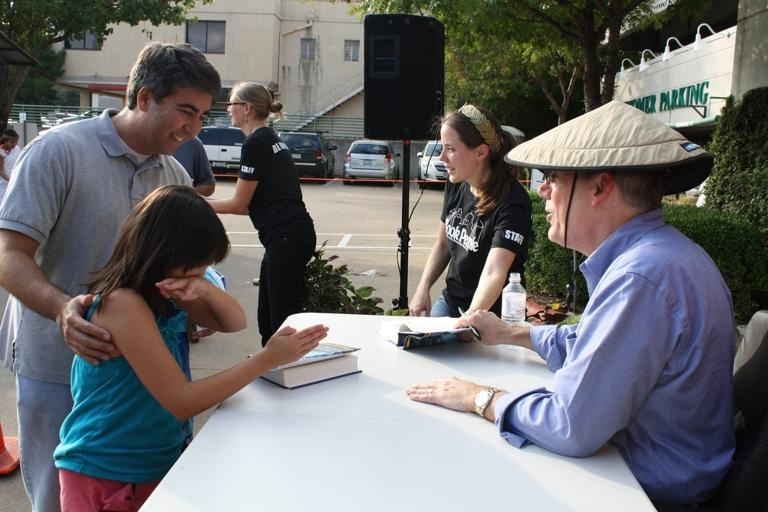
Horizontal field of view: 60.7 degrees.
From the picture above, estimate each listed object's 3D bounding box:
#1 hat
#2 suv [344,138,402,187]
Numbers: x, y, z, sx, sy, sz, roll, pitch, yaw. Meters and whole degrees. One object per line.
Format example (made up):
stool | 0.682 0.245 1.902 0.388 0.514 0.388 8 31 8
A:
hat | 0.988 -0.380 2.799 0.595 0.241 0.487 3 2 19
suv | -0.460 -2.882 22.419 1.629 1.454 2.879 0 19 4
